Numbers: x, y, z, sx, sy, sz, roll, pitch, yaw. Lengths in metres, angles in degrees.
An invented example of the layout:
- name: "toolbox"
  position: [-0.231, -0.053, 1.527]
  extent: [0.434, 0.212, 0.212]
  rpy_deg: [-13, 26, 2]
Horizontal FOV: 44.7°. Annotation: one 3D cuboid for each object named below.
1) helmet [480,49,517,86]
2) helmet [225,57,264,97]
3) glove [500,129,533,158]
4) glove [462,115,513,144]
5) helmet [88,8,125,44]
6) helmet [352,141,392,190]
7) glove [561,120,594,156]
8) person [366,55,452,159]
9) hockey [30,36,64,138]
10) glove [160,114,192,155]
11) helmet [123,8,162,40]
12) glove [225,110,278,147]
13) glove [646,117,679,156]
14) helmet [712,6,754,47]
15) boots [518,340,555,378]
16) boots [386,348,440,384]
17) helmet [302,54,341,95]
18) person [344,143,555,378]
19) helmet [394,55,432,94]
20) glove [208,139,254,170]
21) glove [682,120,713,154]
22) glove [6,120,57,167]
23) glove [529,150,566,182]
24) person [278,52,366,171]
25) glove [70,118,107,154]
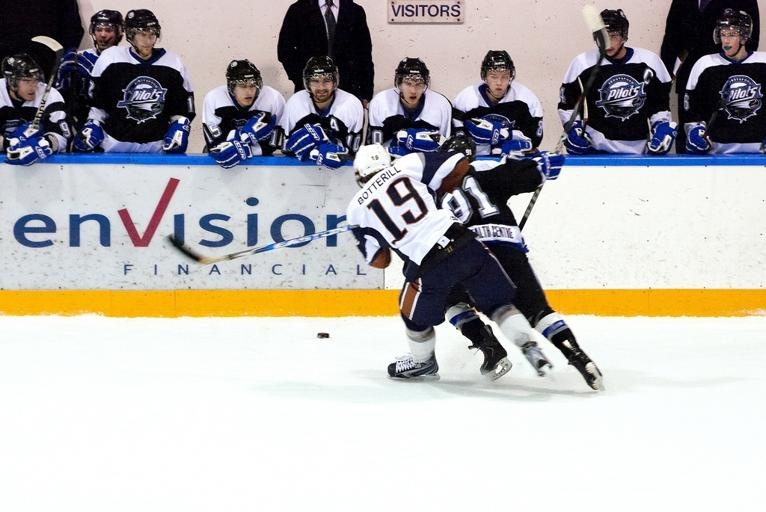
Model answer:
- name: "helmet"
  position: [0.933, -1.531, 7.500]
  extent: [0.233, 0.238, 0.270]
  rpy_deg: [1, 18, 1]
- name: "helmet"
  position: [-1.126, -1.421, 7.457]
  extent: [0.281, 0.298, 0.360]
  rpy_deg: [-16, 35, -27]
- name: "glove"
  position: [1.056, -0.880, 7.430]
  extent: [0.327, 0.302, 0.196]
  rpy_deg: [-2, 8, -7]
- name: "glove"
  position: [0.851, -0.997, 7.456]
  extent: [0.327, 0.225, 0.135]
  rpy_deg: [2, -38, 0]
- name: "helmet"
  position: [-2.307, -1.923, 7.806]
  extent: [0.319, 0.321, 0.356]
  rpy_deg: [6, 26, -2]
- name: "helmet"
  position: [-0.122, -0.573, 5.786]
  extent: [0.220, 0.240, 0.263]
  rpy_deg: [-25, 7, -5]
- name: "glove"
  position: [1.616, -0.950, 7.588]
  extent: [0.282, 0.344, 0.165]
  rpy_deg: [11, -14, -32]
- name: "person"
  position: [0.238, -1.057, 7.488]
  extent: [0.733, 1.023, 0.610]
  rpy_deg: [0, 29, -8]
- name: "hockey"
  position: [-2.671, -1.371, 7.373]
  extent: [0.233, 0.731, 0.429]
  rpy_deg: [2, 2, -20]
- name: "glove"
  position: [-1.639, -0.952, 7.399]
  extent: [0.215, 0.127, 0.319]
  rpy_deg: [5, 46, -15]
- name: "helmet"
  position: [-1.886, -1.865, 7.515]
  extent: [0.299, 0.258, 0.228]
  rpy_deg: [-1, 10, 17]
- name: "glove"
  position: [-1.019, -1.022, 7.298]
  extent: [0.384, 0.221, 0.120]
  rpy_deg: [-37, -26, -21]
- name: "glove"
  position: [2.263, -0.960, 7.509]
  extent: [0.203, 0.149, 0.418]
  rpy_deg: [3, 49, 28]
- name: "helmet"
  position: [2.845, -1.869, 7.634]
  extent: [0.358, 0.301, 0.271]
  rpy_deg: [7, 1, 1]
- name: "boots"
  position: [0.940, 0.605, 5.551]
  extent: [0.161, 0.222, 0.081]
  rpy_deg: [-39, -9, -18]
- name: "boots"
  position: [0.193, 0.685, 5.818]
  extent: [0.392, 0.160, 0.133]
  rpy_deg: [3, 21, 1]
- name: "helmet"
  position: [-0.492, -1.439, 7.454]
  extent: [0.314, 0.304, 0.345]
  rpy_deg: [-6, 22, -3]
- name: "person"
  position: [0.357, 0.004, 5.879]
  extent: [1.235, 1.539, 0.933]
  rpy_deg: [-13, 5, 27]
- name: "helmet"
  position: [0.234, -1.435, 7.384]
  extent: [0.242, 0.239, 0.261]
  rpy_deg: [0, 24, -1]
- name: "glove"
  position: [-1.179, -0.792, 7.227]
  extent: [0.270, 0.198, 0.105]
  rpy_deg: [-18, -11, -12]
- name: "glove"
  position: [2.543, -0.968, 7.562]
  extent: [0.140, 0.161, 0.366]
  rpy_deg: [-3, 39, 4]
- name: "glove"
  position: [-2.740, -0.849, 7.306]
  extent: [0.353, 0.313, 0.141]
  rpy_deg: [-5, -3, 2]
- name: "glove"
  position: [1.037, -0.563, 5.821]
  extent: [0.188, 0.090, 0.216]
  rpy_deg: [-9, 19, -21]
- name: "person"
  position: [-0.463, -1.098, 7.403]
  extent: [0.728, 0.855, 0.352]
  rpy_deg: [-2, -11, -1]
- name: "glove"
  position: [-2.346, -0.966, 7.456]
  extent: [0.237, 0.280, 0.116]
  rpy_deg: [19, 6, -26]
